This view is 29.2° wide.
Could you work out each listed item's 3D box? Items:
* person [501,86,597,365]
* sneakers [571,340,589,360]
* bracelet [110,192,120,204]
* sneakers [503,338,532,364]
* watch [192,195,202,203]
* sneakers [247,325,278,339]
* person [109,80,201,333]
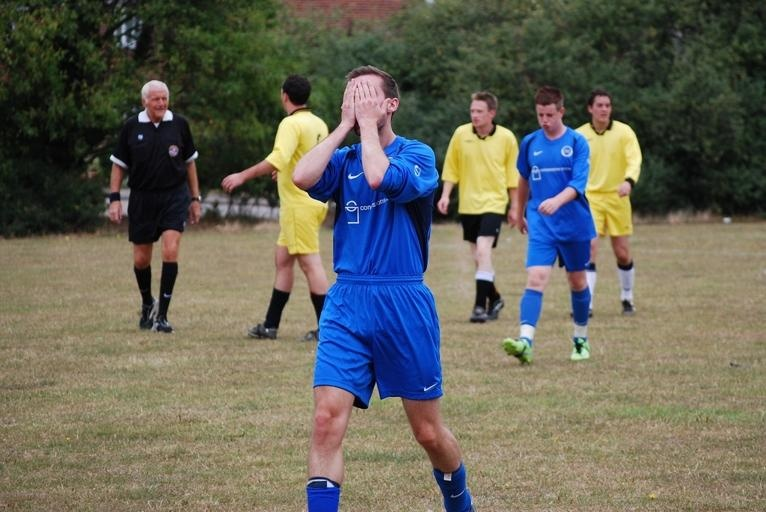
[{"bbox_3d":[2.345,-0.440,20.139,1.137,3.698,1.049,2,5,22],"label":"person"},{"bbox_3d":[2.708,1.283,20.040,0.264,0.294,0.338,1,6,8],"label":"sneakers"},{"bbox_3d":[-3.785,-0.812,20.763,0.150,0.149,0.152,0,-16,5],"label":"bracelet"},{"bbox_3d":[1.812,1.309,19.737,0.196,0.281,0.409,-22,-32,32],"label":"sneakers"},{"bbox_3d":[-2.695,-0.805,21.254,0.094,0.095,0.100,-9,-2,2],"label":"watch"},{"bbox_3d":[-1.696,1.110,20.817,0.394,0.198,0.173,7,2,7],"label":"sneakers"},{"bbox_3d":[-3.235,-0.713,20.958,1.206,3.510,0.572,0,5,-7],"label":"person"}]
